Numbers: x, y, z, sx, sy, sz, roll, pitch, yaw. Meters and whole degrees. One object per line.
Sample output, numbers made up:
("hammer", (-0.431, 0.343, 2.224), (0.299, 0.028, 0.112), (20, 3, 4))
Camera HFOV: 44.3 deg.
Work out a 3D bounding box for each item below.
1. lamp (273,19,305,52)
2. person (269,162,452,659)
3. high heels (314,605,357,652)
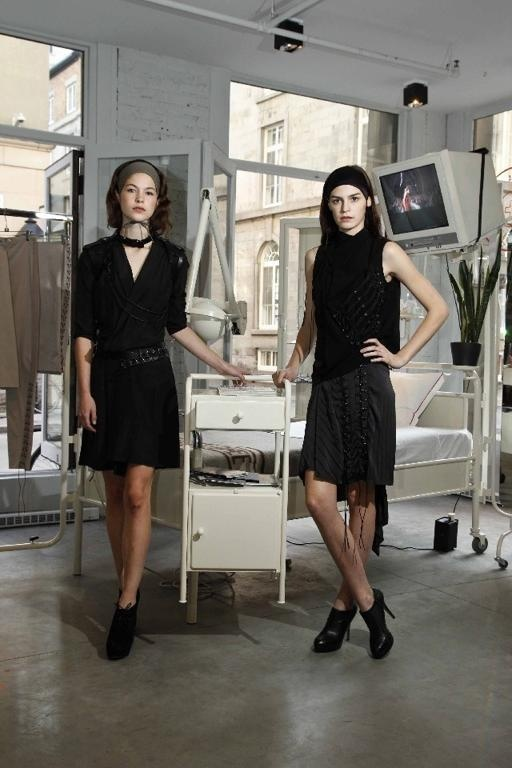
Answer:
("lamp", (0.188, -1.975, 3.540), (0.189, 0.185, 0.102), (-9, 28, -33))
("person", (0.303, 0.094, 1.863), (0.506, 1.444, 0.307), (0, -4, 17))
("high heels", (0.260, 0.739, 1.972), (0.072, 0.087, 0.204), (1, 12, 35))
